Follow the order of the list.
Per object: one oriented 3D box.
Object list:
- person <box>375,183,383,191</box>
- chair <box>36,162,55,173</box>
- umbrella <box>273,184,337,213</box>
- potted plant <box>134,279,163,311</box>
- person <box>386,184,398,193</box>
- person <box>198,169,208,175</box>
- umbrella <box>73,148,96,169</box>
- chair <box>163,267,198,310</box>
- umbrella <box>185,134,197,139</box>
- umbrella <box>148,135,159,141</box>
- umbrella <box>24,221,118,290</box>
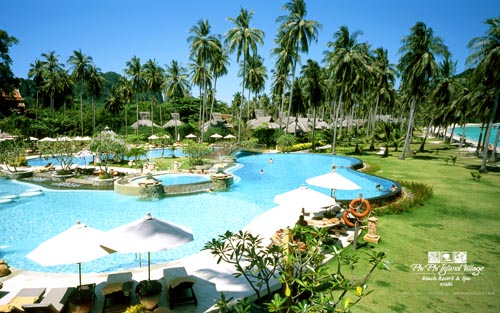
[{"bbox_3d":[13.688,3.157,34.434,0.629,0.382,0.750,-9,43,8],"label":"person"},{"bbox_3d":[-24.864,1.470,40.414,1.216,0.819,2.116,10,11,28],"label":"chair"},{"bbox_3d":[3.949,3.111,24.051,2.588,1.303,2.601,-2,8,13],"label":"umbrella"},{"bbox_3d":[-6.451,8.921,21.273,1.791,1.226,1.736,0,0,-1],"label":"potted plant"},{"bbox_3d":[14.407,3.276,33.031,0.931,0.348,0.905,-16,13,-28],"label":"person"},{"bbox_3d":[-5.521,1.883,39.558,0.779,0.448,0.713,0,2,5],"label":"person"},{"bbox_3d":[-21.003,0.258,41.667,2.743,1.749,2.547,3,3,23],"label":"umbrella"},{"bbox_3d":[-4.484,8.604,21.377,1.564,1.401,2.581,-2,36,-17],"label":"chair"},{"bbox_3d":[-11.170,-3.840,63.434,1.828,0.846,1.789,-4,5,-42],"label":"umbrella"},{"bbox_3d":[-17.245,-3.403,59.706,2.182,1.027,2.181,3,6,41],"label":"umbrella"},{"bbox_3d":[-11.027,5.450,20.352,4.216,2.134,1.331,0,9,-6],"label":"umbrella"}]
